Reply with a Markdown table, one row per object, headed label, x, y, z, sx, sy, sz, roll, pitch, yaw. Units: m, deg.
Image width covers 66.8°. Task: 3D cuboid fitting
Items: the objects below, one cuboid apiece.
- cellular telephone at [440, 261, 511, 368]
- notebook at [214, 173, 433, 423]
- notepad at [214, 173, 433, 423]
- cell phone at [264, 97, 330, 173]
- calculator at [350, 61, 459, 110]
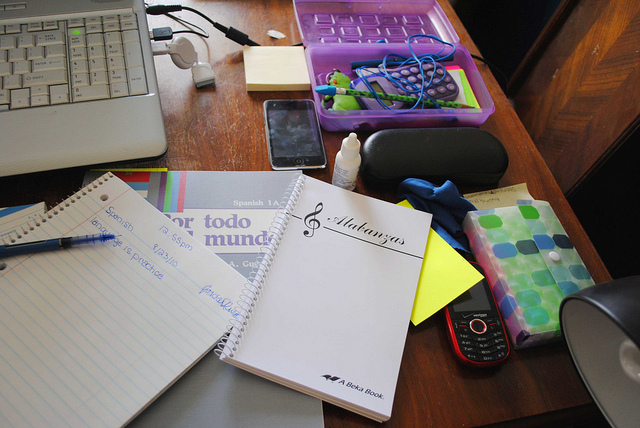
| label | x | y | z | sx | sy | sz | roll | pitch | yaw |
| --- | --- | --- | --- | --- | --- | --- | --- | --- | --- |
| cellular telephone | 0.249 | 0.165 | 0.799 | 0.092 | 0.029 | 0.174 | -2 | 50 | -5 |
| notebook | 0.004 | 0.147 | 0.767 | 0.280 | 0.048 | 0.406 | 18 | 58 | 5 |
| notepad | 0.004 | 0.147 | 0.767 | 0.279 | 0.050 | 0.405 | 18 | 58 | 5 |
| cell phone | -0.047 | -0.157 | 0.927 | 0.109 | 0.163 | 0.016 | 0 | 50 | 4 |
| calculator | 0.166 | -0.246 | 0.953 | 0.194 | 0.031 | 0.103 | -14 | 65 | -10 |
